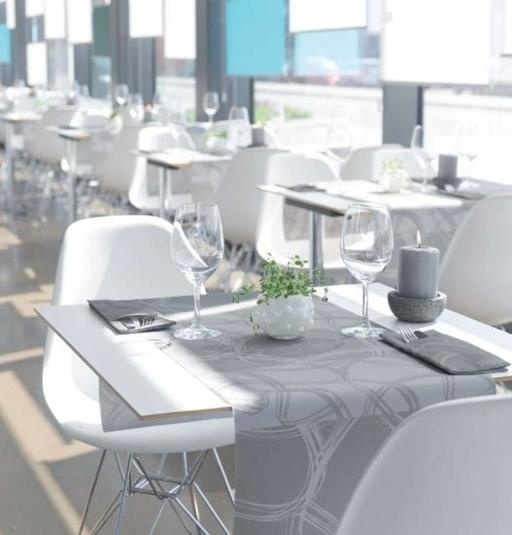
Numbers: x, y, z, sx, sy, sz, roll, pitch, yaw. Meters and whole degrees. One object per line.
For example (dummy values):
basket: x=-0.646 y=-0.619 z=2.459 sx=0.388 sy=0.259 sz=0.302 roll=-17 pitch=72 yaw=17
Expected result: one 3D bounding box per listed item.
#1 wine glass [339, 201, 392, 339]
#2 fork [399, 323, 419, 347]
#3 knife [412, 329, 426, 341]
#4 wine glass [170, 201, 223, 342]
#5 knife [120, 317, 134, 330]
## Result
wine glass: x=0.157 y=0.003 z=0.823 sx=0.071 sy=0.177 sz=0.129 roll=2 pitch=11 yaw=10
fork: x=0.210 y=0.093 z=0.786 sx=0.013 sy=0.007 sz=0.045 roll=-6 pitch=21 yaw=-1
knife: x=0.221 y=0.096 z=0.773 sx=0.008 sy=0.016 sz=0.010 roll=-1 pitch=-3 yaw=-13
wine glass: x=-0.086 y=0.003 z=0.819 sx=0.074 sy=0.171 sz=0.145 roll=-1 pitch=11 yaw=-6
knife: x=-0.189 y=0.083 z=0.833 sx=0.018 sy=0.004 sz=0.055 roll=-4 pitch=12 yaw=-18
